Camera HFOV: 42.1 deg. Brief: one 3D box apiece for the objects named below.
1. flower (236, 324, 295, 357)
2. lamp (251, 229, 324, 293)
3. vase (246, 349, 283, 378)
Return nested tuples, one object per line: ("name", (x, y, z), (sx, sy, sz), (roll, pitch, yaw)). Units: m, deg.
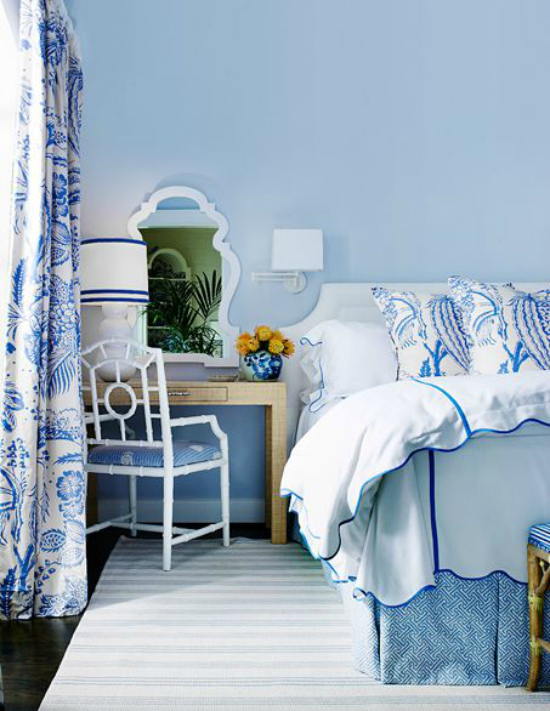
("flower", (-0.041, -0.061, 3.167), (0.162, 0.107, 0.181), (1, -1, 3))
("lamp", (0.092, -0.461, 3.370), (0.401, 0.340, 0.209), (-1, 4, -6))
("vase", (-0.040, 0.032, 3.212), (0.146, 0.098, 0.130), (2, 5, 35))
